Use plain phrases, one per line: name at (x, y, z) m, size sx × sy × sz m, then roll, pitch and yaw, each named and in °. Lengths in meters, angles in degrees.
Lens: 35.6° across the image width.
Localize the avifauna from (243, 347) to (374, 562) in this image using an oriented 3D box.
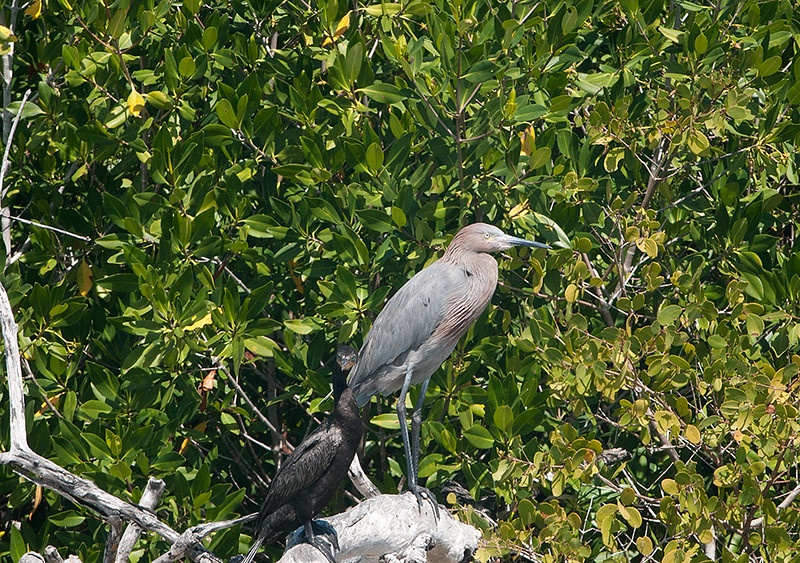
avifauna at (-0.509, 1.180, 8.108) m, size 0.665 × 1.370 × 0.575 m, roll -7°, pitch 26°, yaw -44°
